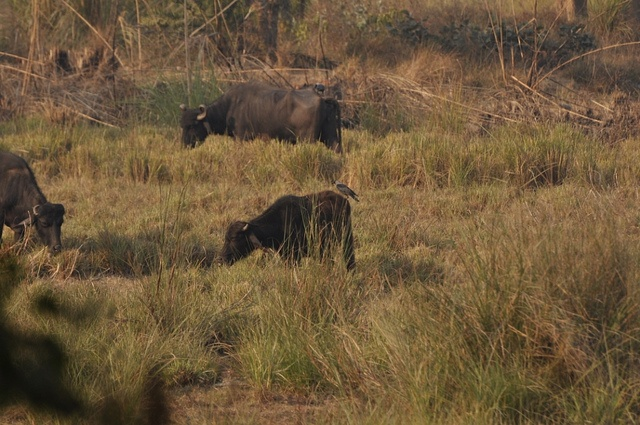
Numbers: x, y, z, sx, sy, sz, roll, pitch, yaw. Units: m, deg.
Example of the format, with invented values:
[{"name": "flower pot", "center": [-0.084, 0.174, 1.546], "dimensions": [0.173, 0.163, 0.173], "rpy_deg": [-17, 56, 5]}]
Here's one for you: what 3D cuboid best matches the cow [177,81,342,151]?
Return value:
[{"name": "cow", "center": [-1.340, -1.705, 20.457], "dimensions": [2.892, 1.995, 0.798], "rpy_deg": [0, 4, 0]}]
